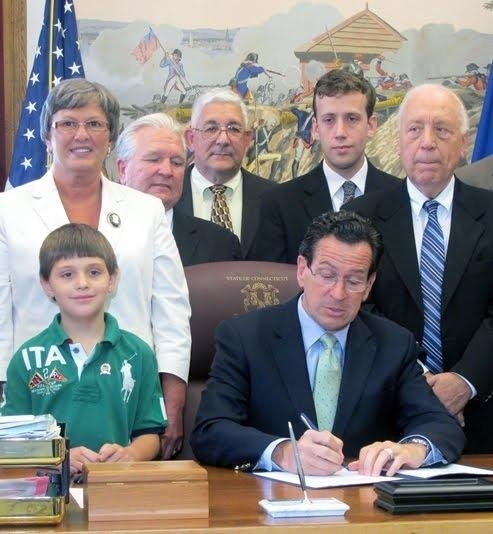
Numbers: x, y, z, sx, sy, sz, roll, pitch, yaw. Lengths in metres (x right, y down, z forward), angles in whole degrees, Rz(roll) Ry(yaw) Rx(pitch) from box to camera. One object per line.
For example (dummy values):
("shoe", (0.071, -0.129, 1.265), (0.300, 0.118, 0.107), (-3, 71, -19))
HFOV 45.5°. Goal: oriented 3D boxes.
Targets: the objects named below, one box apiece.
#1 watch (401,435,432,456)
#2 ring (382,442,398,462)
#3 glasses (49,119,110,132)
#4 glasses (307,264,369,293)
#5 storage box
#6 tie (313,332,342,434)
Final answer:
("watch", (0.478, 0.495, 1.642), (0.050, 0.020, 0.041), (7, 5, 31))
("ring", (0.369, 0.473, 1.512), (0.014, 0.038, 0.027), (-26, 18, -21))
("glasses", (-0.618, -0.517, 2.188), (0.192, 0.043, 0.039), (-3, 10, -13))
("glasses", (0.286, 0.042, 1.859), (0.176, 0.073, 0.064), (1, 10, 7))
("storage box", (-0.193, 0.413, 1.125), (0.228, 0.096, 0.215), (-3, 10, -16))
("tie", (0.262, 0.384, 1.873), (0.075, 0.359, 0.038), (5, 29, 8))
